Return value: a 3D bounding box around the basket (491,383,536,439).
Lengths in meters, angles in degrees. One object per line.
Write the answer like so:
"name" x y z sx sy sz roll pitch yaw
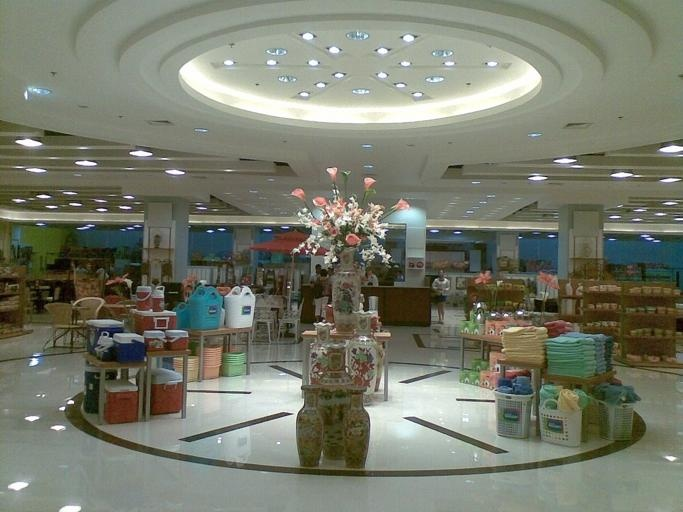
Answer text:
"basket" 1.929 1.768 5.504 0.388 0.491 0.246 0 -3 18

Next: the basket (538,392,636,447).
"basket" 2.707 1.773 5.482 0.901 0.481 0.632 0 -3 2

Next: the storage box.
"storage box" -2.498 1.154 6.288 1.256 1.165 1.736 3 -4 -22

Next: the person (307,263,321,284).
"person" -0.897 0.579 16.308 0.382 0.956 0.604 3 -19 -3

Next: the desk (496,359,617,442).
"desk" 2.607 1.538 6.000 1.152 0.760 1.082 -2 -4 34

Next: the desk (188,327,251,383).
"desk" -2.050 1.609 8.250 1.037 0.628 1.049 -14 -11 40

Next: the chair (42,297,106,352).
"chair" -5.363 1.392 9.858 1.140 1.092 0.857 1 -17 -6
